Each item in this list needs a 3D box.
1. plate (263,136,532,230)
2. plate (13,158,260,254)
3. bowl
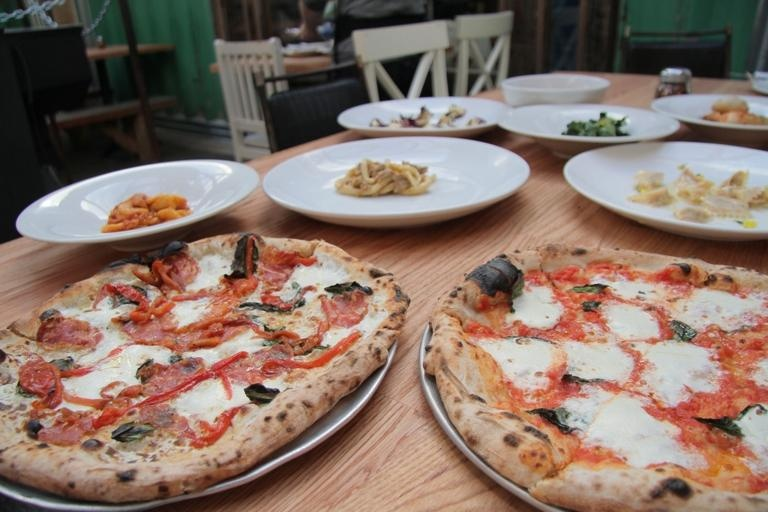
[{"bbox_3d":[0.050,-0.234,1.677,0.507,0.069,0.449,9,26,21],"label":"plate"},{"bbox_3d":[-0.687,-0.160,1.550,0.419,0.074,0.423,-22,28,-39],"label":"plate"},{"bbox_3d":[0.650,-0.660,2.268,0.350,0.077,0.329,-2,24,1],"label":"bowl"}]
